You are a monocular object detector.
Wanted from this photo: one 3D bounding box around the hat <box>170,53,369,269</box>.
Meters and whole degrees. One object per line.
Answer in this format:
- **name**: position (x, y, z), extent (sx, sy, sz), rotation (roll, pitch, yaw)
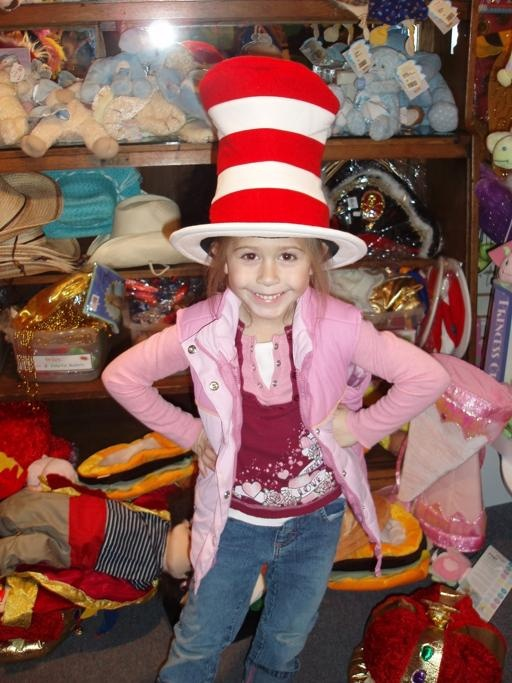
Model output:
- **hat**: position (0.016, -0.282, 0.958), extent (0.359, 0.389, 0.298), rotation (3, 25, 9)
